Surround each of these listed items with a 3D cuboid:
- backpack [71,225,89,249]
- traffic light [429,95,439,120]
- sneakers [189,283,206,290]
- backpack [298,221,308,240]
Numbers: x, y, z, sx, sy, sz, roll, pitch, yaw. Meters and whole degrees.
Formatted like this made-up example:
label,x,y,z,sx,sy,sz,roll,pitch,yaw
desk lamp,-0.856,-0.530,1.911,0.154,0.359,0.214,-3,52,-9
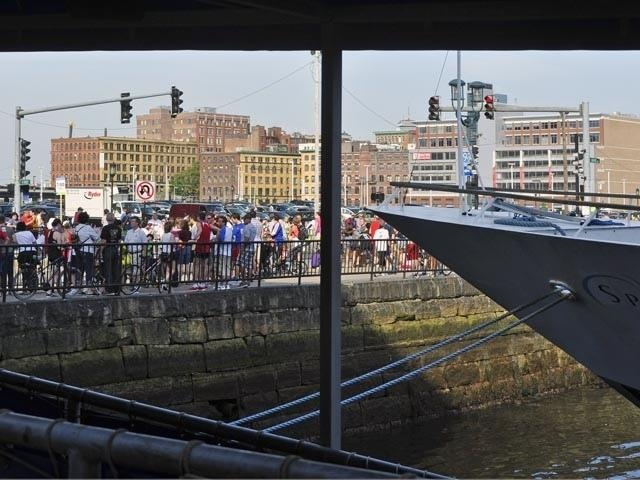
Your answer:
label,x,y,z,sx,sy,sz,roll,pitch,yaw
backpack,-4.519,-0.044,26.694,0.367,0.510,0.281,-2,-7,20
traffic light,2.634,-3.037,32.980,0.246,0.534,0.921,-1,3,6
sneakers,-2.323,0.868,26.769,0.287,0.122,0.096,-5,7,-37
backpack,-0.440,-0.218,34.522,0.243,0.452,0.301,-3,26,-3
